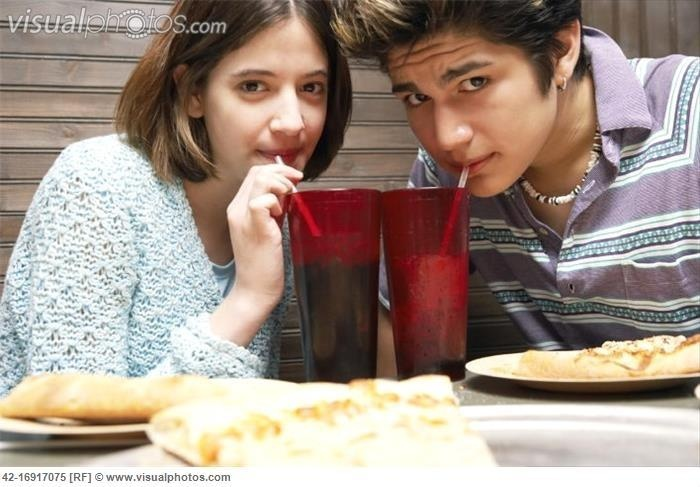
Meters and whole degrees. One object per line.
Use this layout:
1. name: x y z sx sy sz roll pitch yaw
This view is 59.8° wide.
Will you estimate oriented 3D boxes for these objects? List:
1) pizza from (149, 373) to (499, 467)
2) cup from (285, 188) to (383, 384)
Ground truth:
1. pizza: -0.029 0.272 0.908 0.297 0.032 0.187 -2 5 -5
2. cup: -0.023 0.078 1.087 0.164 0.349 0.085 -3 17 -7
